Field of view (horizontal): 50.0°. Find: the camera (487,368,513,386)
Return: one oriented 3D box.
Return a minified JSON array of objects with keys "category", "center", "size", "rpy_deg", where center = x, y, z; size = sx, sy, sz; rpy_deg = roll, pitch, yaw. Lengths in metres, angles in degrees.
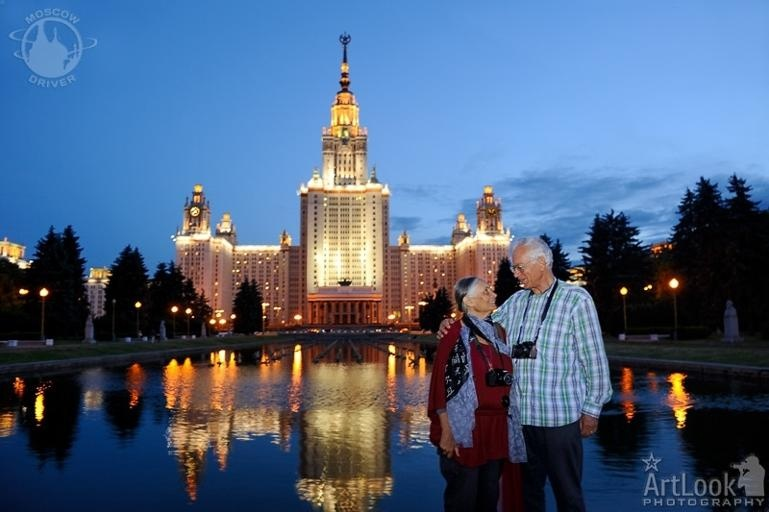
[{"category":"camera","center":[2.382,2.553,17.041],"size":[0.638,0.395,0.337],"rpy_deg":[2,-3,-22]}]
